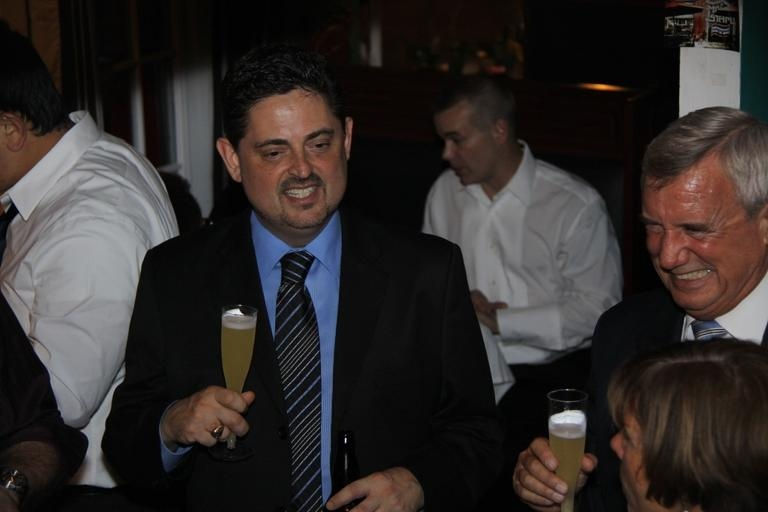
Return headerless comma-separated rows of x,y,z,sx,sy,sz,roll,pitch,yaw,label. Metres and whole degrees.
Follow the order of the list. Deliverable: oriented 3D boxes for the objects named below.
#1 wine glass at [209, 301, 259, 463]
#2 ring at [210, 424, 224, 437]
-0.426,0.361,1.879,0.107,0.432,0.186,-2,11,-14,wine glass
-0.463,0.487,1.764,0.025,0.034,0.012,33,-20,12,ring
